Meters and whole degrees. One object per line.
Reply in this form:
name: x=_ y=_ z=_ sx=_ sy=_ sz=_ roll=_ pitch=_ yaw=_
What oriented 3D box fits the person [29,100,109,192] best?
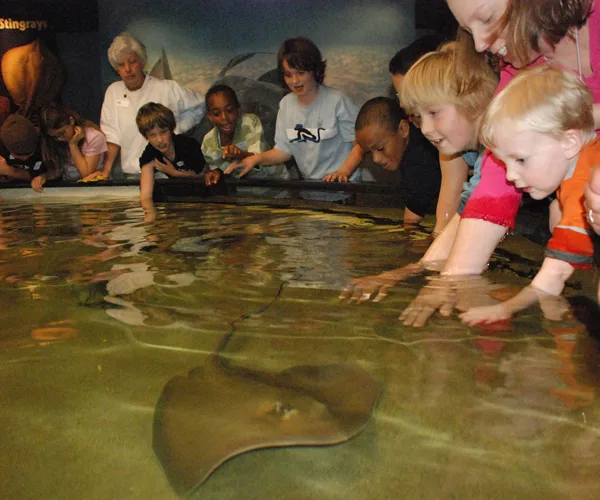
person: x=-2.644 y=-1.148 z=4.999 sx=0.776 sy=1.183 sz=0.675 roll=-8 pitch=45 yaw=-21

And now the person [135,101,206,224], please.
person: x=-1.222 y=-1.014 z=4.203 sx=0.692 sy=0.870 sz=1.709 roll=-3 pitch=17 yaw=-19
